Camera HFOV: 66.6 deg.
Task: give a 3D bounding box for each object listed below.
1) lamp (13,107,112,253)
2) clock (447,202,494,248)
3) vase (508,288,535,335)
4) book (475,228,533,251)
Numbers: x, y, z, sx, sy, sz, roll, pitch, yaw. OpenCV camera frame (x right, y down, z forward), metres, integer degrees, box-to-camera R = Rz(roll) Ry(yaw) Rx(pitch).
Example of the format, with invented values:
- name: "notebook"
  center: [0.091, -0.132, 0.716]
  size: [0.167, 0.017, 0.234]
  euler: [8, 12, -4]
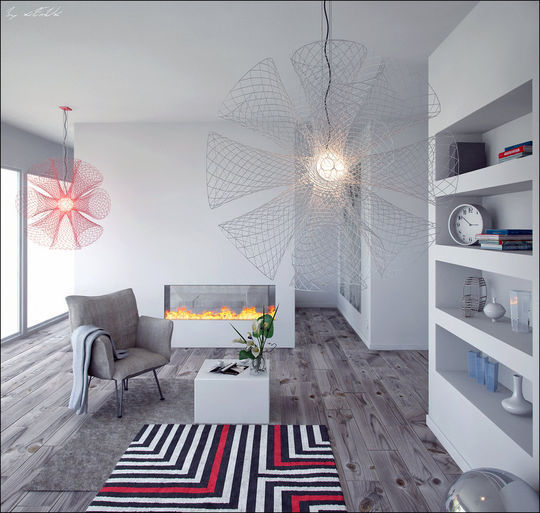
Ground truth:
- name: "lamp"
  center: [-1.911, -0.495, 3.935]
  size: [0.739, 0.870, 0.585]
  euler: [-4, 6, -34]
- name: "clock"
  center: [1.230, -0.197, 2.490]
  size: [0.084, 0.315, 0.236]
  euler: [4, -8, -20]
- name: "vase"
  center: [1.368, 0.286, 2.246]
  size: [0.084, 0.211, 0.167]
  euler: [1, 5, 19]
- name: "book"
  center: [1.228, -0.091, 2.163]
  size: [0.265, 0.106, 0.223]
  euler: [4, 7, 37]
